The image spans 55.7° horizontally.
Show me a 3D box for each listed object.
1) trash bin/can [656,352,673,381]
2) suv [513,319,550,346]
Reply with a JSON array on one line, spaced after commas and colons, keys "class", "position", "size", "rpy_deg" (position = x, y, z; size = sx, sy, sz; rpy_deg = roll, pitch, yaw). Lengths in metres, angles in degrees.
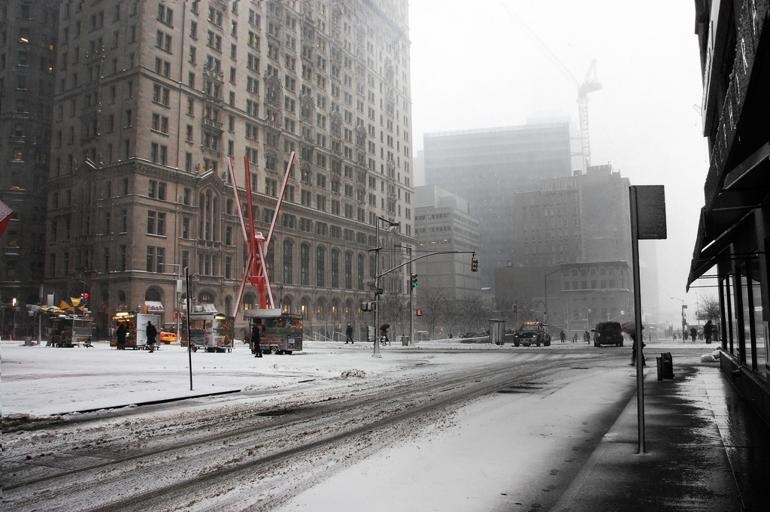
[{"class": "trash bin/can", "position": [11.163, 4.437, 29.026], "size": [0.640, 1.374, 1.274], "rpy_deg": [-3, -5, 15]}, {"class": "suv", "position": [13.189, 6.999, 65.473], "size": [1.934, 1.815, 3.572], "rpy_deg": [-6, -15, 21]}]
